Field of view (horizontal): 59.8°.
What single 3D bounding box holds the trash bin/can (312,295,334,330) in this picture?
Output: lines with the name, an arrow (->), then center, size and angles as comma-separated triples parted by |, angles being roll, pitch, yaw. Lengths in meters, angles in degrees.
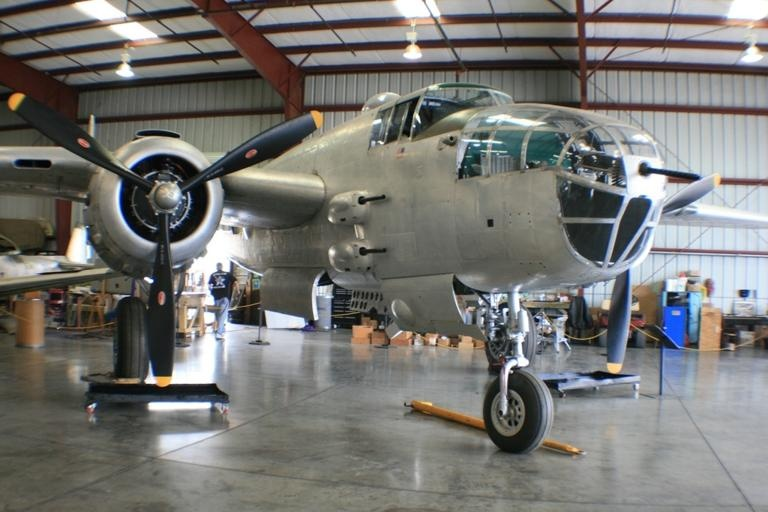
trash bin/can -> -2.432, 2.115, 25.378 | 1.038, 1.105, 0.967 | -1, -6, 22
